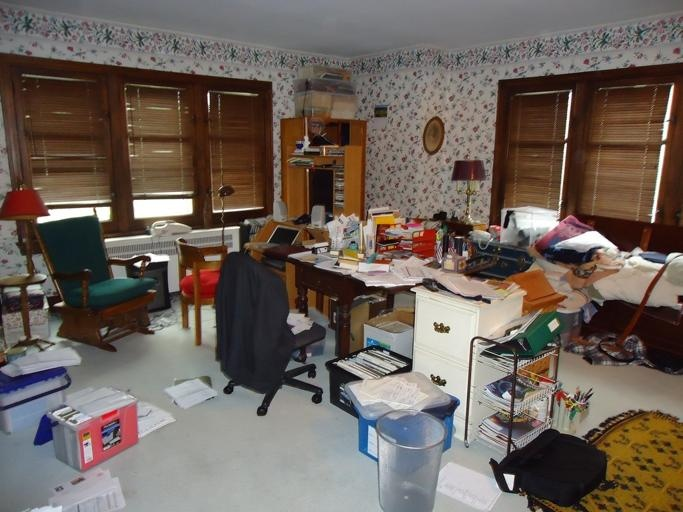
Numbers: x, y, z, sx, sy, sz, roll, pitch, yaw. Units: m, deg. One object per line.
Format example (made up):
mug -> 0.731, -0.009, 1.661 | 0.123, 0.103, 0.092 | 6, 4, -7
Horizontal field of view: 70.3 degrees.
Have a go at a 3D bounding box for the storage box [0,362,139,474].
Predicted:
storage box -> -1.798, 1.170, 3.427 | 0.553, 0.387, 0.424 | 4, 8, 35

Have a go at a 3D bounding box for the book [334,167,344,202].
book -> -0.029, -0.902, 6.121 | 0.176, 0.468, 0.042 | 11, 20, 41

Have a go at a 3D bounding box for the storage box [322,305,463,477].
storage box -> 0.273, 0.941, 3.636 | 0.696, 0.365, 1.023 | -4, 11, -24

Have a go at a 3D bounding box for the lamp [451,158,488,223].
lamp -> 1.555, -0.782, 5.953 | 0.484, 0.709, 0.471 | 2, 0, 23

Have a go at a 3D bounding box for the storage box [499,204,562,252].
storage box -> 1.987, -0.332, 5.182 | 0.522, 0.359, 0.508 | -6, 10, -23

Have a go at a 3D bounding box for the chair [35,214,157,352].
chair -> -2.475, 0.126, 5.188 | 1.375, 1.523, 1.068 | 10, 15, 24

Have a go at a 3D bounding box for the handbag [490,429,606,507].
handbag -> 1.338, 1.360, 3.119 | 0.643, 0.267, 0.464 | -11, 17, -35

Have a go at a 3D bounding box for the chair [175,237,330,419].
chair -> -0.745, 0.635, 4.052 | 0.928, 1.400, 0.979 | 16, 29, 31

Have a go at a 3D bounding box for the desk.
desk -> -0.019, 0.469, 4.436 | 0.885, 0.824, 0.650 | 21, 22, 40

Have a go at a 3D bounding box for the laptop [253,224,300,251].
laptop -> -0.789, -0.272, 5.715 | 0.394, 0.341, 0.242 | 16, -1, 37
